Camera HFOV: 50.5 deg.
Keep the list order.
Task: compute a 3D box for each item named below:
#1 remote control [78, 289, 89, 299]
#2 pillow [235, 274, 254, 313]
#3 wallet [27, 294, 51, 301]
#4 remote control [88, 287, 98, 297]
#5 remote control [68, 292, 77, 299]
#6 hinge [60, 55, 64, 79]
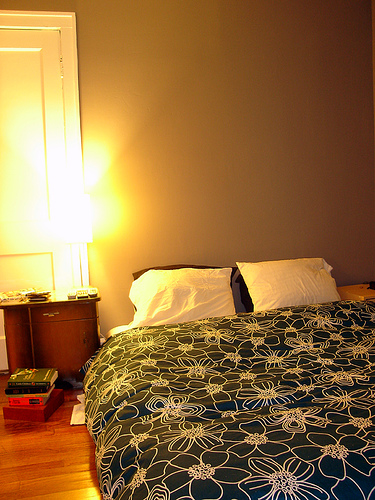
[{"bbox_3d":[-0.669,0.280,2.549,0.046,0.016,0.068,0,18,-8],"label":"remote control"},{"bbox_3d":[0.415,0.314,2.866,0.056,0.216,0.191,0,-10,-16],"label":"pillow"},{"bbox_3d":[-0.920,0.294,2.473,0.122,0.034,0.085,-6,7,-32],"label":"wallet"},{"bbox_3d":[-0.616,0.277,2.589,0.048,0.048,0.049,0,35,-8],"label":"remote control"},{"bbox_3d":[-0.730,0.290,2.516,0.050,0.029,0.057,-4,6,-11],"label":"remote control"},{"bbox_3d":[-0.875,-1.266,2.761,0.027,0.145,0.008,-3,6,-8],"label":"hinge"}]
